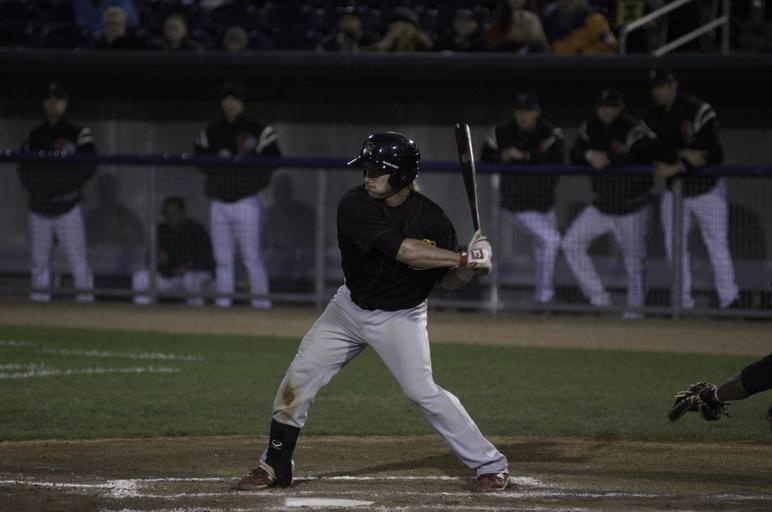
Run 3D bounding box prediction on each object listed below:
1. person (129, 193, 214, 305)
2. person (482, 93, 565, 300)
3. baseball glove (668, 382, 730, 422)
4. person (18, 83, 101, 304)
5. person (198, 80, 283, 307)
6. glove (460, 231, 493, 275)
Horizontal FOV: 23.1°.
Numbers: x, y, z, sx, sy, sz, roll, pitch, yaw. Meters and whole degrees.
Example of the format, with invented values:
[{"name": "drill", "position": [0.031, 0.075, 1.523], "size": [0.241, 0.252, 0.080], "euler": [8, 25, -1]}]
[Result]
[{"name": "person", "position": [-1.635, -0.058, 16.394], "size": [0.903, 1.136, 0.882], "euler": [-1, 6, 1]}, {"name": "person", "position": [1.209, -0.508, 16.139], "size": [0.811, 1.636, 0.524], "euler": [2, -1, -1]}, {"name": "baseball glove", "position": [2.478, 1.184, 14.861], "size": [0.407, 0.189, 0.337], "euler": [-9, -17, 39]}, {"name": "person", "position": [-2.765, -0.524, 15.907], "size": [0.652, 1.855, 0.390], "euler": [0, 0, -11]}, {"name": "person", "position": [-1.243, -0.463, 16.010], "size": [0.842, 1.839, 0.694], "euler": [-1, 4, -9]}, {"name": "glove", "position": [0.720, -0.003, 14.276], "size": [0.192, 0.288, 0.111], "euler": [-2, -11, 8]}]
